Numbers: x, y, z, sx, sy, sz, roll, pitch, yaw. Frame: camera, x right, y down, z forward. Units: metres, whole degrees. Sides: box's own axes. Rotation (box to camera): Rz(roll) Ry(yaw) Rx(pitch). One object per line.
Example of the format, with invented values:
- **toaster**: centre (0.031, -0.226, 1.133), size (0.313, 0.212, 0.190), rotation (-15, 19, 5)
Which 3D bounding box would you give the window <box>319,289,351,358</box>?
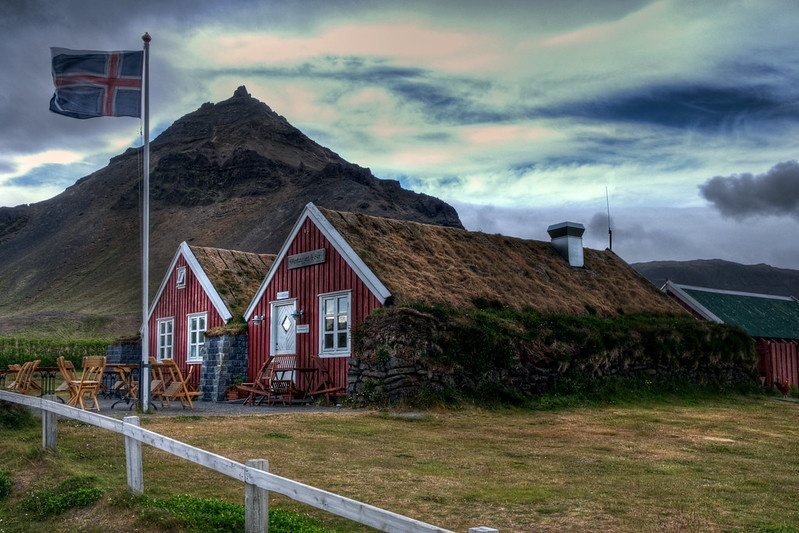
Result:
- **window**: centre (-2.205, 2.035, 25.638), size (2.112, 2.676, 0.256), rotation (-11, -16, 40)
